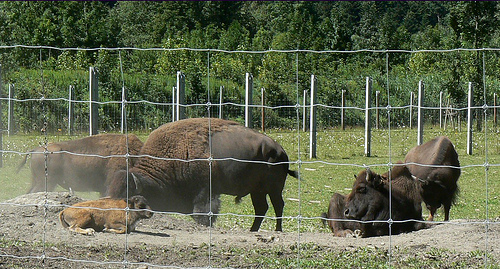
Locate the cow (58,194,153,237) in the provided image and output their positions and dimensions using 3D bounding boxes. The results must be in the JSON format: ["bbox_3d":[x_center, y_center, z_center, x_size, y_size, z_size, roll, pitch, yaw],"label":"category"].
[{"bbox_3d":[-6.830,3.711,42.612,4.828,1.883,1.724,0,-3,-2],"label":"cow"}]
